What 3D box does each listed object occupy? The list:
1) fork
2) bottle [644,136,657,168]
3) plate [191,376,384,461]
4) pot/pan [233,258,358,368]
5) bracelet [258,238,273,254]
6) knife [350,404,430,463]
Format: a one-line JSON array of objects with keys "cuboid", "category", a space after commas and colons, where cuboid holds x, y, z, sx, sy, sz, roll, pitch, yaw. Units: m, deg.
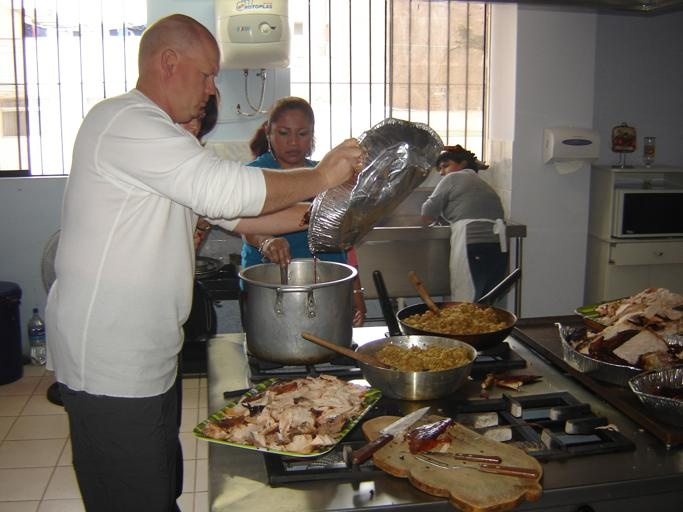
[{"cuboid": [0.275, 0.420, 1.158, 0.249, 0.011, 0.076, 3, 13, 12], "category": "fork"}, {"cuboid": [2.224, -0.763, 4.082, 0.065, 0.205, 0.137, 2, 9, 24], "category": "bottle"}, {"cuboid": [-0.115, 0.376, 1.352, 0.323, 0.082, 0.345, 2, 7, 23], "category": "plate"}, {"cuboid": [-0.132, 0.178, 1.732, 0.343, 0.231, 0.346, -7, 12, -36], "category": "pot/pan"}, {"cuboid": [-0.273, -0.038, 2.034, 0.025, 0.046, 0.062, 30, -27, 8], "category": "bracelet"}, {"cuboid": [0.123, 0.382, 1.287, 0.055, 0.024, 0.330, -6, 6, 33], "category": "knife"}]
